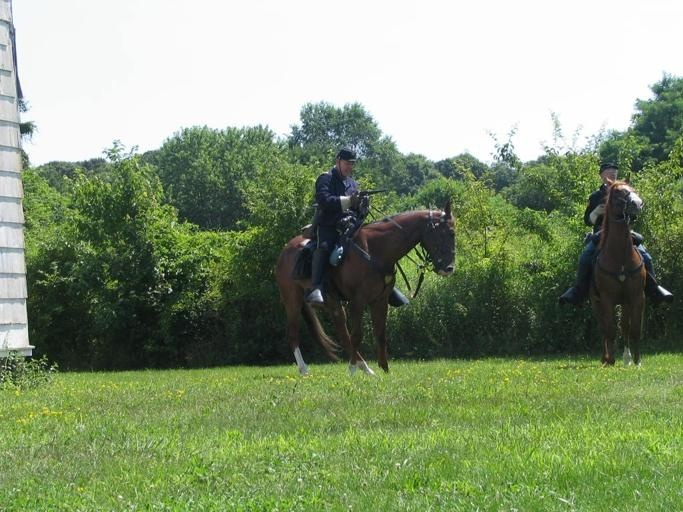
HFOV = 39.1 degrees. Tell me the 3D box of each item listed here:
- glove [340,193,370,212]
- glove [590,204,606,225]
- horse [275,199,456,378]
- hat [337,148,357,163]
[{"bbox_3d":[0.176,-1.101,20.024,0.348,0.179,0.460,1,-22,-29],"label":"glove"},{"bbox_3d":[5.728,-0.936,21.637,0.300,0.421,0.174,-4,32,-36],"label":"glove"},{"bbox_3d":[0.407,0.942,20.924,1.440,3.707,5.162,-4,0,-44],"label":"horse"},{"bbox_3d":[0.054,-2.151,20.324,0.294,0.240,0.384,5,-2,-32],"label":"hat"}]
